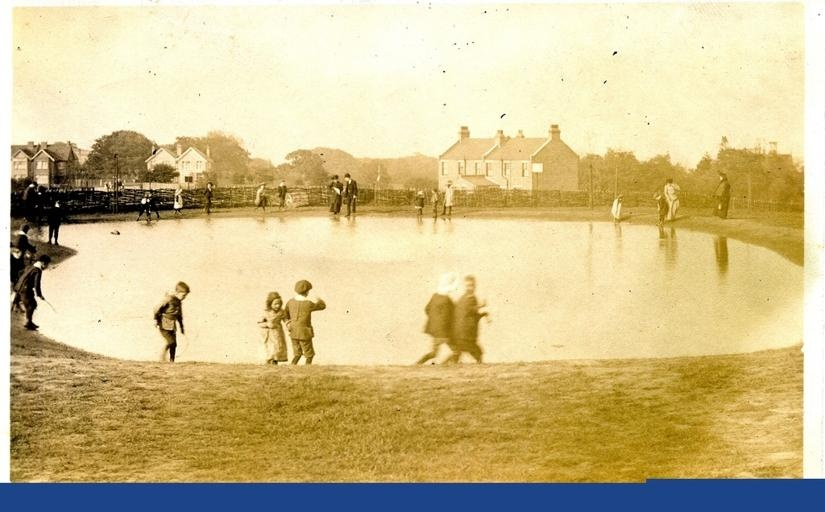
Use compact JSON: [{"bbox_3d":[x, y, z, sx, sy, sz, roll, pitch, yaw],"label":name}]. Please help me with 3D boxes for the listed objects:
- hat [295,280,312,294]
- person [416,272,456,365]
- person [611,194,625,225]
[{"bbox_3d":[-2.940,0.821,23.564,0.330,0.336,0.630,1,0,-10],"label":"hat"},{"bbox_3d":[0.637,1.594,22.874,0.823,2.331,1.417,1,-1,2],"label":"person"},{"bbox_3d":[8.547,-1.991,37.047,0.438,1.236,1.825,1,0,13],"label":"person"}]
